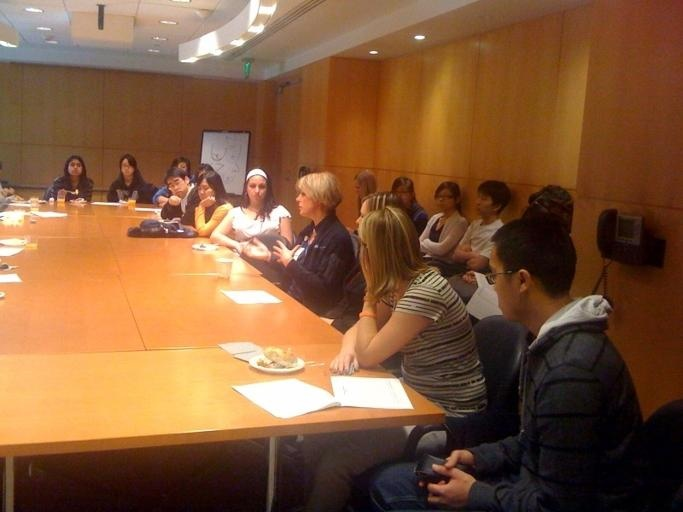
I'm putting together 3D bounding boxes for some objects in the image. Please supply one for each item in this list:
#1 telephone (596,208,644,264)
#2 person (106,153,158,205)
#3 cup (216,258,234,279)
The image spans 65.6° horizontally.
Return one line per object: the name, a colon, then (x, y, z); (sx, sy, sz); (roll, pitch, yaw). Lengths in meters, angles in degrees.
telephone: (1.689, -0.116, 3.302); (0.363, 0.333, 0.249); (6, 1, -37)
person: (-3.037, -0.979, 7.668); (0.646, 0.883, 0.428); (-1, -1, -16)
cup: (-0.736, 0.072, 3.418); (0.115, 0.122, 0.119); (3, 9, -1)
